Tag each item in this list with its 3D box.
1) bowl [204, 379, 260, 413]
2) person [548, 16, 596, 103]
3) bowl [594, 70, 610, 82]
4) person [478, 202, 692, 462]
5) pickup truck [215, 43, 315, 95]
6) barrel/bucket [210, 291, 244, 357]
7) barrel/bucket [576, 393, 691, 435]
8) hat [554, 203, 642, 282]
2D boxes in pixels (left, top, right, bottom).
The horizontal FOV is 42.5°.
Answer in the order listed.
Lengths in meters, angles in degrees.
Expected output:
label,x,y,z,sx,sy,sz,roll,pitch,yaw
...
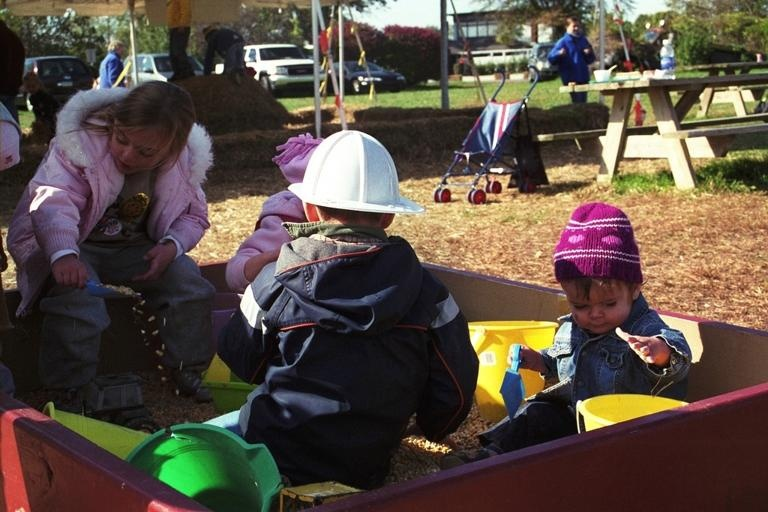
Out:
label,x,y,z,sx,sy,sz,roll,pitch,yaw
bowl,-0.827,0.743,5.334,0.187,0.107,0.250,1,0,-13
person,2.364,-2.501,12.696,0.484,1.483,0.575,5,-9,-25
bowl,2.264,-1.871,10.194,0.134,0.104,0.142,-3,12,1
person,1.020,0.139,5.277,1.060,1.469,1.238,-5,11,-20
pickup truck,-2.571,-4.153,21.867,1.354,1.177,2.853,-8,16,-36
barrel/bucket,-0.917,0.393,5.899,0.179,0.406,0.213,0,-3,-2
barrel/bucket,1.144,0.739,4.660,0.478,0.150,0.259,-6,12,-19
hat,1.072,-0.062,4.937,0.422,0.390,0.210,0,11,13
